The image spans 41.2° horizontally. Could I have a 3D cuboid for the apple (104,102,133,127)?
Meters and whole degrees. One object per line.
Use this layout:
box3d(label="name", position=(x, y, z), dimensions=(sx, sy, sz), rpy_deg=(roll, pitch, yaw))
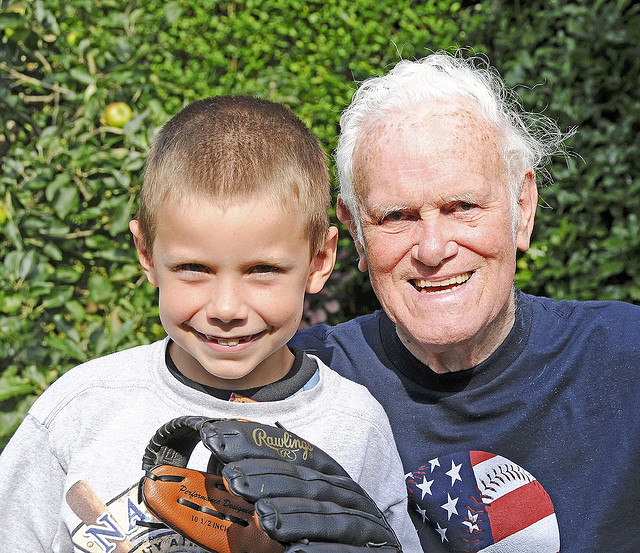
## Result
box3d(label="apple", position=(-0.917, -0.731, 3.856), dimensions=(0.122, 0.108, 0.110), rpy_deg=(0, -4, -18))

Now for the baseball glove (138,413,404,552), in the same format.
box3d(label="baseball glove", position=(-0.179, 0.695, 2.601), dimensions=(0.667, 0.273, 0.448), rpy_deg=(20, 42, -27))
